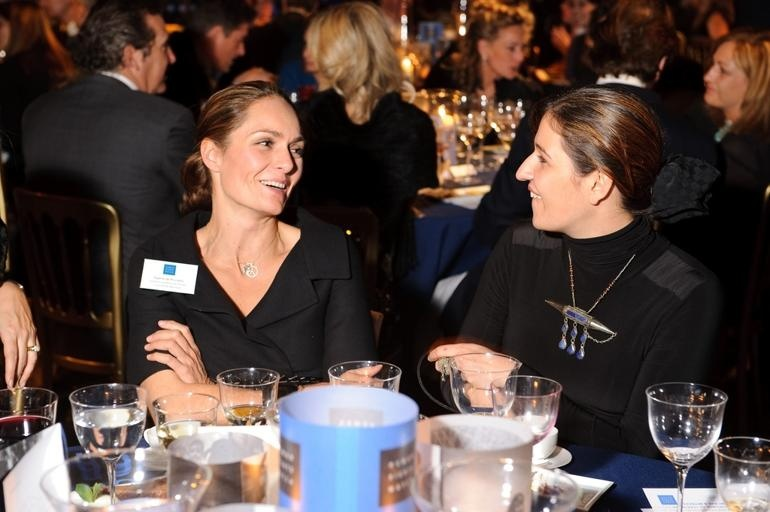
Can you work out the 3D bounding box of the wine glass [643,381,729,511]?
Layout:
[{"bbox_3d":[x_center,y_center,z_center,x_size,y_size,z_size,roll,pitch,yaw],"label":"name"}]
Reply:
[{"bbox_3d":[0.753,0.477,1.791,0.186,0.276,0.233,4,7,25],"label":"wine glass"}]
